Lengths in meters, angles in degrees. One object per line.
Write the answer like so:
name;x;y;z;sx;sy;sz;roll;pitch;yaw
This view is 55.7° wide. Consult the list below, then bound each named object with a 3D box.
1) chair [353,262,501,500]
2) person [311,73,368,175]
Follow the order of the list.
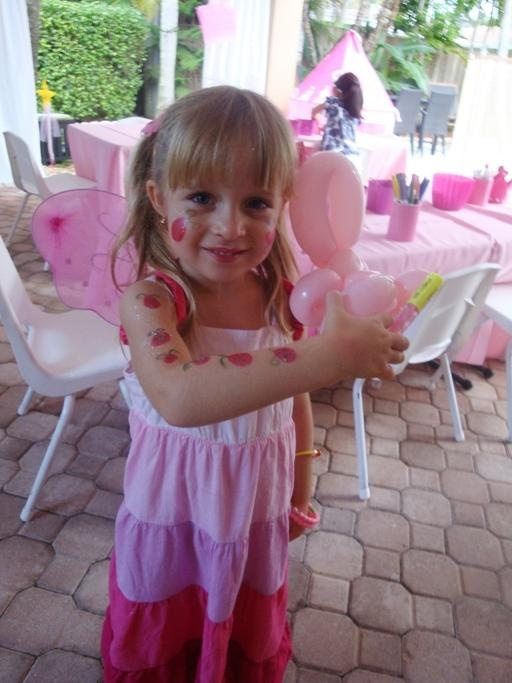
chair;0.565;0.087;1.834;0.531;0.890;0.542;-6;30;-16
person;0.495;-1.264;2.972;0.257;0.732;0.257;29;41;35
